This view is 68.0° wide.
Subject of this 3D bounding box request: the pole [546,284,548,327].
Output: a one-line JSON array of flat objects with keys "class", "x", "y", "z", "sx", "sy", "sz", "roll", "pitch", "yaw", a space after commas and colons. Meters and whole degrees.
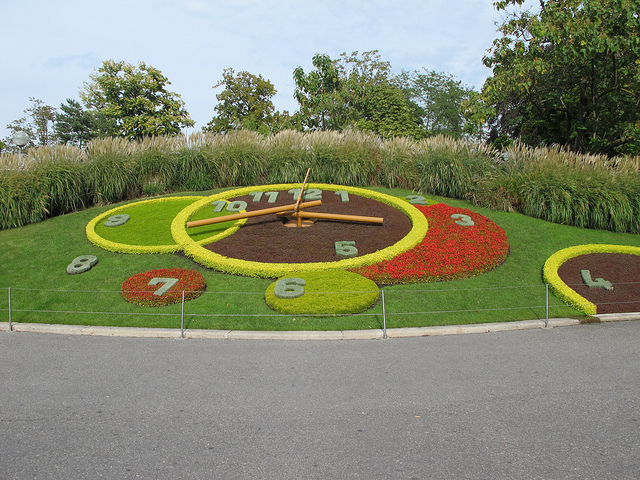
[{"class": "pole", "x": 5.393, "y": 1.594, "z": 11.227, "sx": 0.053, "sy": 0.879, "sz": 0.406, "roll": 2, "pitch": 11, "yaw": 25}]
